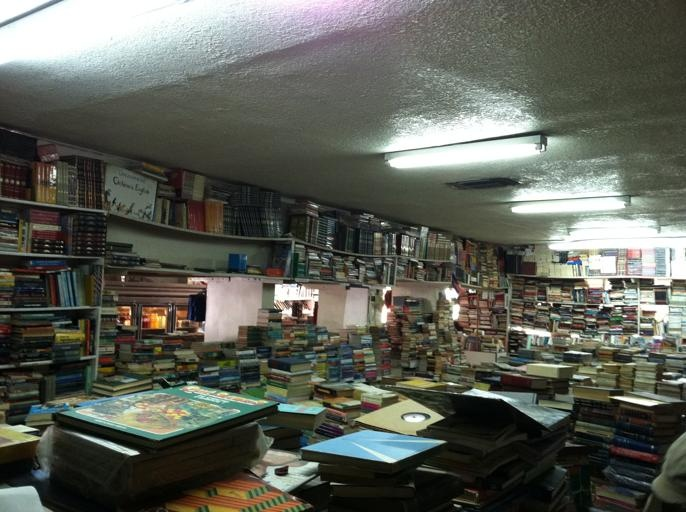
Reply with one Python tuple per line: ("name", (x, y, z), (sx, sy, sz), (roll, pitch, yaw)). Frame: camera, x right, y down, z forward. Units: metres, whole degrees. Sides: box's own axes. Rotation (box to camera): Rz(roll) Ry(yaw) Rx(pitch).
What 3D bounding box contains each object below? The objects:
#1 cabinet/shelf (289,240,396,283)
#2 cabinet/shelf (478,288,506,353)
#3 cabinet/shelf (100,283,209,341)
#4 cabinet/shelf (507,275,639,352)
("cabinet/shelf", (-0.062, 0.187, 7.886), (0.478, 0.427, 2.675), (-4, -8, 38))
("cabinet/shelf", (3.357, 1.464, 11.389), (0.915, 1.536, 1.679), (0, -6, 17))
("cabinet/shelf", (-2.634, 0.750, 7.080), (1.586, 0.639, 0.548), (3, -6, -43))
("cabinet/shelf", (5.715, 1.161, 10.977), (0.802, 1.466, 2.023), (4, -7, -25))
